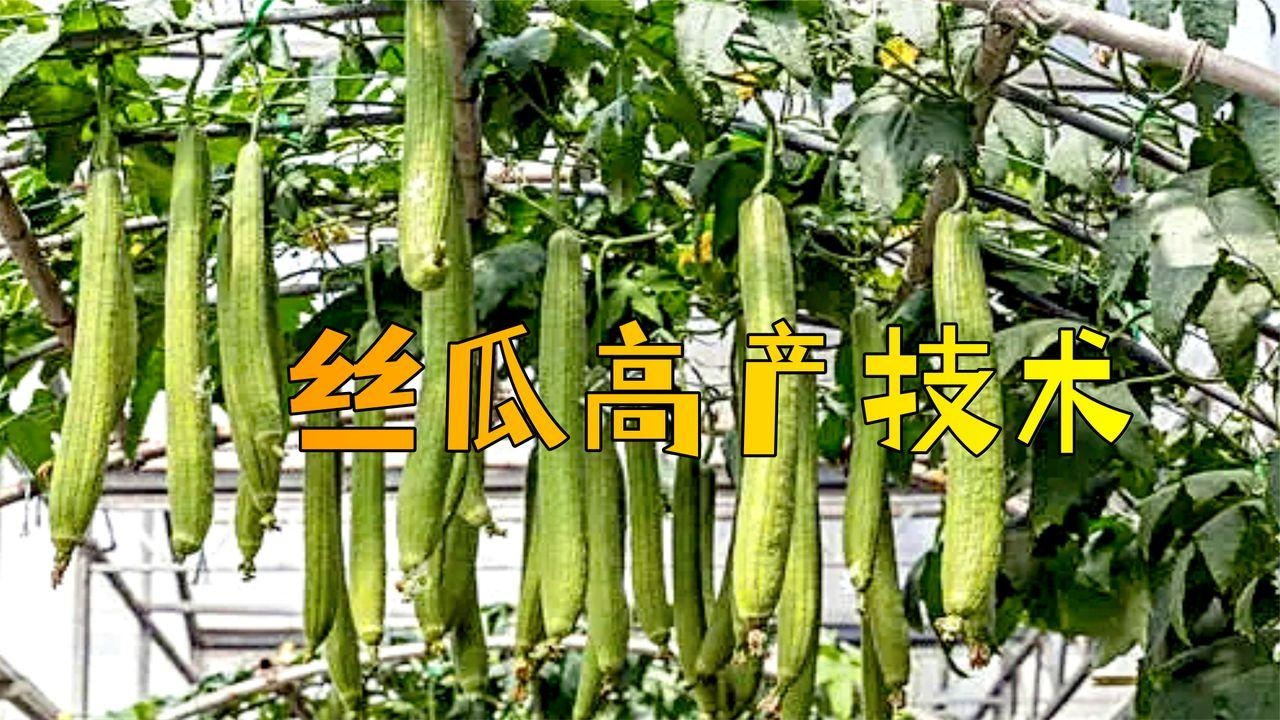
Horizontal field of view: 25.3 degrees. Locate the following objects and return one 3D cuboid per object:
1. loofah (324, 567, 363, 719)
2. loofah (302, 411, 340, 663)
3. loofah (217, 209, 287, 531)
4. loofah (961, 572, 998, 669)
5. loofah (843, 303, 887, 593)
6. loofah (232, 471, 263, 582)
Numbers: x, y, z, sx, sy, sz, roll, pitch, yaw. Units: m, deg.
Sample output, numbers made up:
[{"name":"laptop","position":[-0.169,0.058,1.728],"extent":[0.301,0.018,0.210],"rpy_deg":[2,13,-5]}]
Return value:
[{"name":"loofah","position":[-1.190,1.124,11.331],"extent":[0.121,0.605,0.117],"rpy_deg":[-10,-4,30]},{"name":"loofah","position":[-1.251,0.747,11.268],"extent":[0.157,0.766,0.127],"rpy_deg":[1,-9,-10]},{"name":"loofah","position":[-1.502,0.038,11.084],"extent":[0.218,1.282,0.198],"rpy_deg":[-1,-16,-7]},{"name":"loofah","position":[1.324,0.995,10.954],"extent":[0.118,0.356,0.111],"rpy_deg":[25,-36,-30]},{"name":"loofah","position":[0.878,0.349,11.195],"extent":[0.162,1.075,0.136],"rpy_deg":[3,-7,-24]},{"name":"loofah","position":[-1.510,0.643,11.121],"extent":[0.122,0.410,0.159],"rpy_deg":[4,-14,-32]}]
